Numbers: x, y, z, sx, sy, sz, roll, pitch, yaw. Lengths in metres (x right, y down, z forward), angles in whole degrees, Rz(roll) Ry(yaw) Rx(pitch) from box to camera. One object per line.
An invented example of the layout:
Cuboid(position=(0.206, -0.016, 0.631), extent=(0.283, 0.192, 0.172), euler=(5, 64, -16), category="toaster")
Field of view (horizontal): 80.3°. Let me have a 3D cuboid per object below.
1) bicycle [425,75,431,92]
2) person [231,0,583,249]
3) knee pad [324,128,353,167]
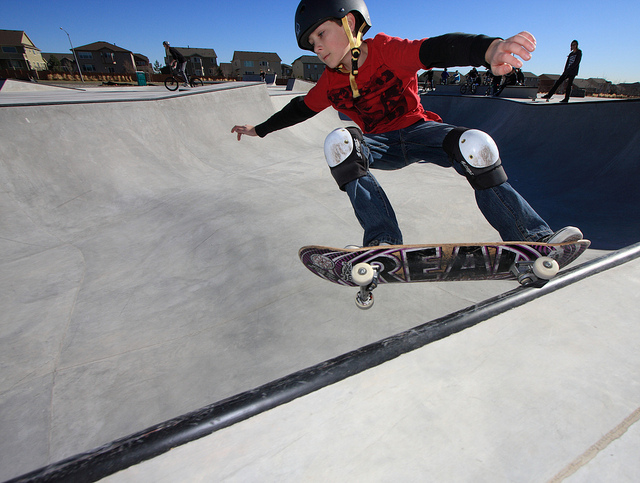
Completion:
Cuboid(position=(6.271, -9.073, 22.021), extent=(0.392, 0.462, 0.865), euler=(12, 31, 9), category="bicycle")
Cuboid(position=(0.565, -0.906, 2.807), extent=(1.048, 1.480, 2.305), euler=(-18, 38, -33), category="person")
Cuboid(position=(0.124, -0.672, 2.736), extent=(0.177, 0.264, 0.194), euler=(-2, 33, -14), category="knee pad")
